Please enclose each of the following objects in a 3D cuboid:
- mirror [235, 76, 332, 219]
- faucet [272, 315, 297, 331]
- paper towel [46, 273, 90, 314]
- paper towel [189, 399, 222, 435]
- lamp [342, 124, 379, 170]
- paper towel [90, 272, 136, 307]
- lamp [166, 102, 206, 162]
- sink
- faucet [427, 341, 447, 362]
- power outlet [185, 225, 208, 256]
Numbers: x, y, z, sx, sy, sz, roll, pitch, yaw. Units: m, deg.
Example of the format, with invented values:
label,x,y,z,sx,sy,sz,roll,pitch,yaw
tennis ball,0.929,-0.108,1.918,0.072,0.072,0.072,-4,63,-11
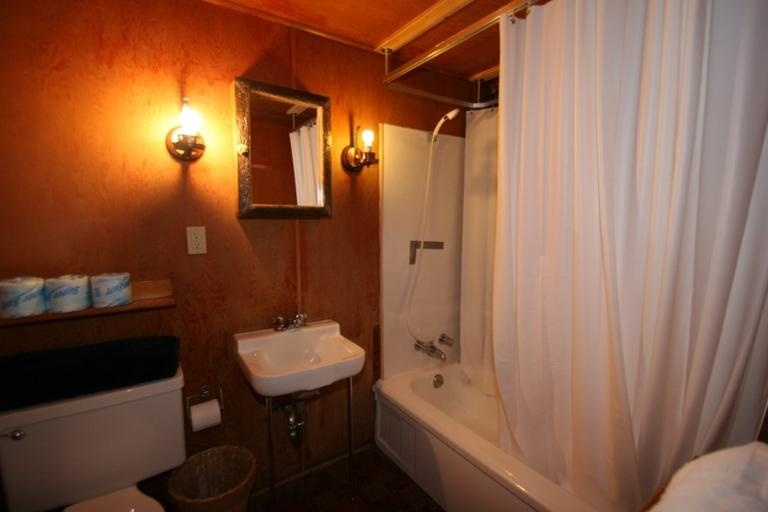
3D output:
label,x,y,z,sx,sy,sz,roll,pitch,yaw
mirror,-0.584,-0.622,3.073,0.747,1.032,0.112,-3,8,-35
faucet,-0.572,0.391,3.180,0.060,0.071,0.139,1,0,24
paper towel,-1.504,0.177,2.658,0.165,0.194,0.172,1,1,-5
paper towel,-0.958,0.867,2.962,0.165,0.187,0.153,-6,13,-23
lamp,-0.134,-0.656,3.347,0.205,0.279,0.239,3,13,21
paper towel,-1.334,0.166,2.681,0.157,0.181,0.160,-5,11,-26
lamp,-1.018,-0.628,2.844,0.193,0.305,0.105,-6,8,-36
sink,-0.468,0.573,3.070,0.659,0.288,0.474,-7,13,-25
faucet,0.344,0.618,3.668,0.067,0.080,0.184,-9,25,-24
power outlet,-1.009,-0.089,2.941,0.139,0.220,0.022,-5,5,-39
